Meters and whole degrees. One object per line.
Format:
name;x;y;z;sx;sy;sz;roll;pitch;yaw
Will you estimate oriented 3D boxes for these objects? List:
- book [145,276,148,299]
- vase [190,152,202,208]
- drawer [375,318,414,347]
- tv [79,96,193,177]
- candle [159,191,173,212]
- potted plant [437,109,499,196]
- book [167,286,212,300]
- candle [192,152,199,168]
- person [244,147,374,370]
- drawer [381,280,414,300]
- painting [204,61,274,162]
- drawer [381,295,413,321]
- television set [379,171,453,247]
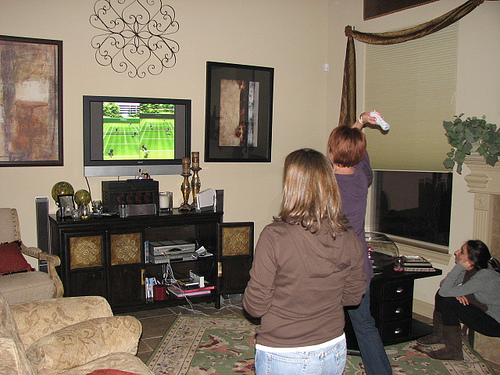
book;-1.151;1.114;4.573;0.033;0.219;0.108;-2;7;-14
vase;-0.668;-0.107;4.945;0.227;0.638;0.211;-1;3;6
drawer;1.351;1.327;3.968;0.319;0.247;0.377;2;5;-27
tv;-1.381;-0.598;4.710;0.969;0.684;0.069;-1;6;-26
candle;-0.972;0.171;4.715;0.188;0.238;0.194;0;4;2
potted plant;2.231;-0.381;4.125;0.325;0.777;0.739;-12;16;-16
book;-0.697;1.197;4.668;0.499;0.105;0.191;0;7;-1
candle;-0.663;-0.331;4.929;0.076;0.186;0.090;-2;7;-14
person;0.276;0.353;1.951;0.610;1.068;0.289;0;7;0
drawer;1.384;0.956;3.833;0.281;0.171;0.169;-2;3;-22
painting;-0.127;-0.938;5.266;0.973;1.227;0.039;-4;14;-28
drawer;1.370;1.151;3.842;0.235;0.151;0.234;-1;3;-13
television set;1.963;0.217;4.972;0.043;0.918;1.073;-6;8;-36
